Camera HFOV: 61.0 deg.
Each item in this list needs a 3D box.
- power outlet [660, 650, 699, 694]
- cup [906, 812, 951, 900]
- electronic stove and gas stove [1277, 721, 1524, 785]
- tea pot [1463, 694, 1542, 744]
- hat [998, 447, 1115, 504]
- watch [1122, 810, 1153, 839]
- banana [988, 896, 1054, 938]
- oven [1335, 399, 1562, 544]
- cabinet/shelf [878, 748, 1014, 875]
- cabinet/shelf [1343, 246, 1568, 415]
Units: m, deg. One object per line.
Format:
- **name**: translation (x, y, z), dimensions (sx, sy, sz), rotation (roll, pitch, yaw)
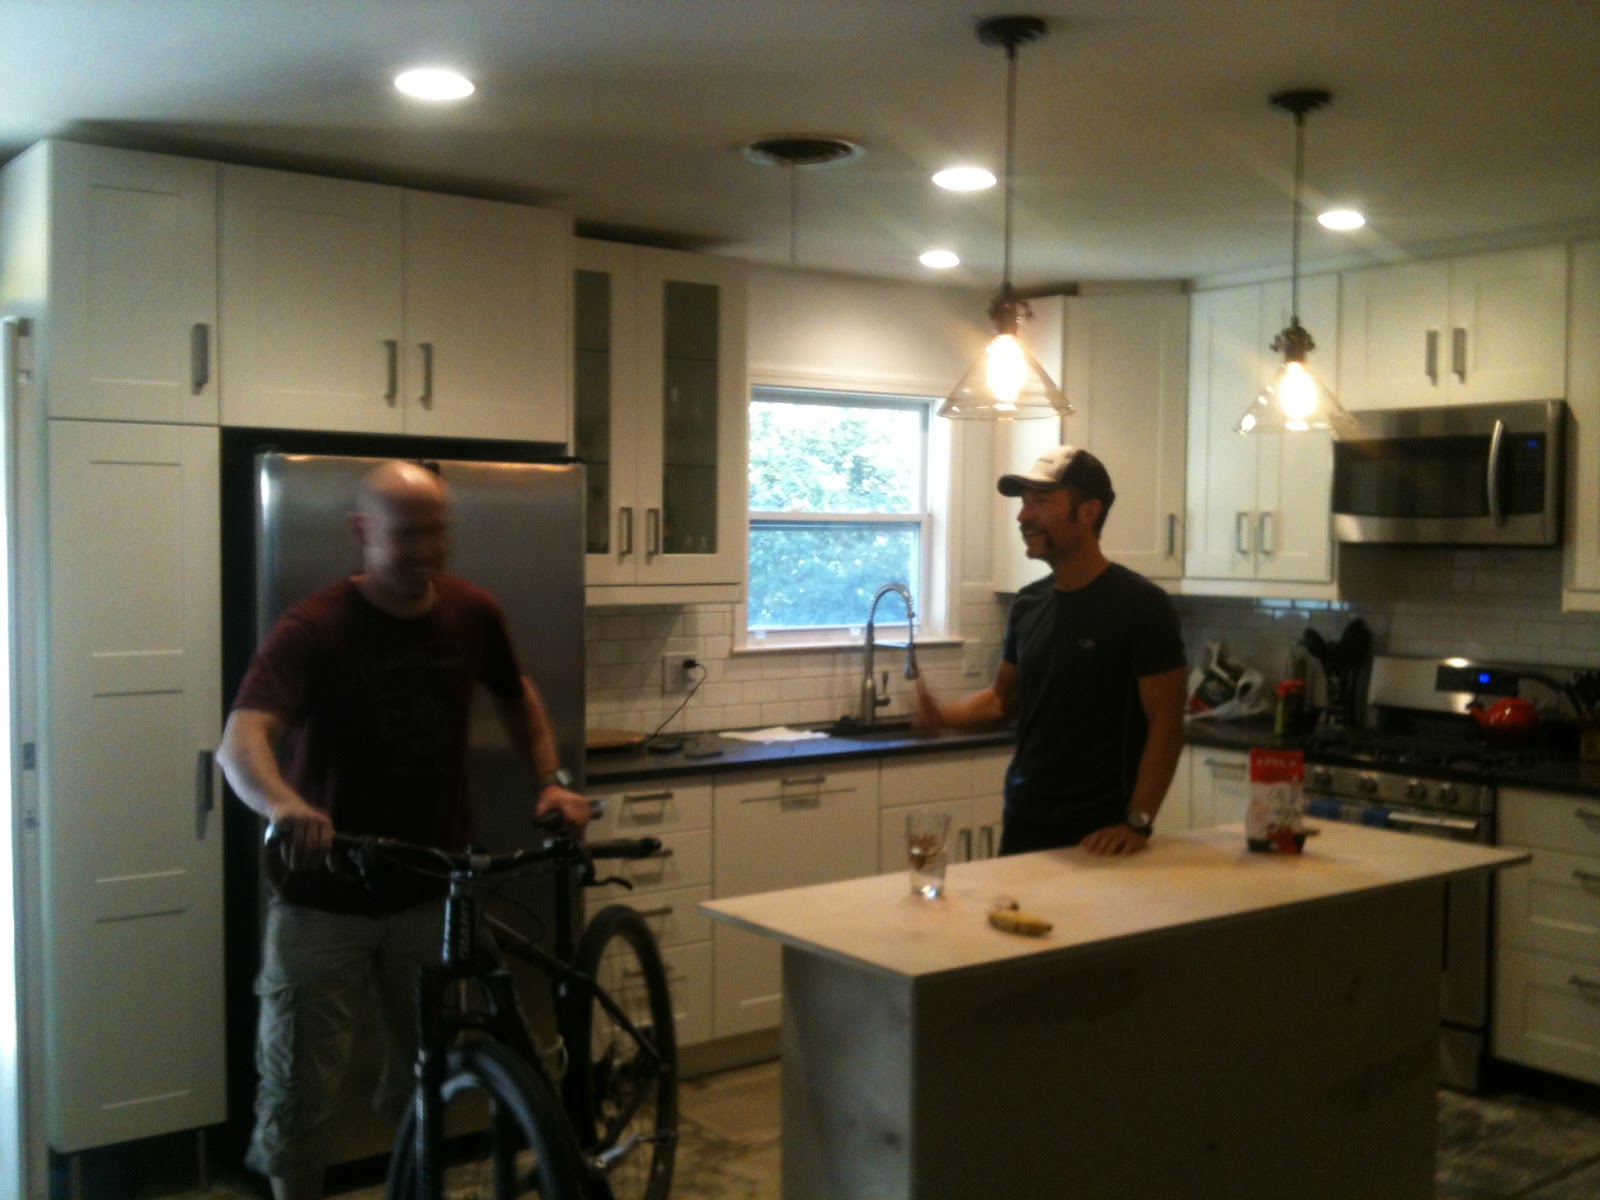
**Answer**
- **power outlet**: translation (-0.493, 0.267, 5.484), dimensions (0.139, 0.200, 0.198), rotation (5, 5, 42)
- **cup**: translation (0.292, 0.581, 3.109), dimensions (0.082, 0.196, 0.096), rotation (0, 4, 1)
- **electronic stove and gas stove**: translation (2.327, 0.544, 5.093), dimensions (0.809, 0.141, 0.690), rotation (3, 5, 37)
- **tea pot**: translation (2.579, 0.432, 4.971), dimensions (0.149, 0.109, 0.209), rotation (1, 1, -20)
- **hat**: translation (0.728, -0.353, 3.832), dimensions (0.254, 0.133, 0.166), rotation (13, -1, -10)
- **watch**: translation (0.894, 0.602, 3.582), dimensions (0.069, 0.073, 0.047), rotation (4, -6, -31)
- **banana**: translation (0.465, 0.671, 2.873), dimensions (0.057, 0.033, 0.089), rotation (-3, 4, -41)
- **oven**: translation (2.530, -0.444, 5.229), dimensions (0.553, 0.531, 0.878), rotation (5, -3, -41)
- **cabinet/shelf**: translation (0.476, 0.720, 4.685), dimensions (0.542, 0.501, 0.277), rotation (0, 0, -32)
- **cabinet/shelf**: translation (2.464, -1.006, 5.008), dimensions (0.322, 0.607, 0.834), rotation (0, 2, -44)
